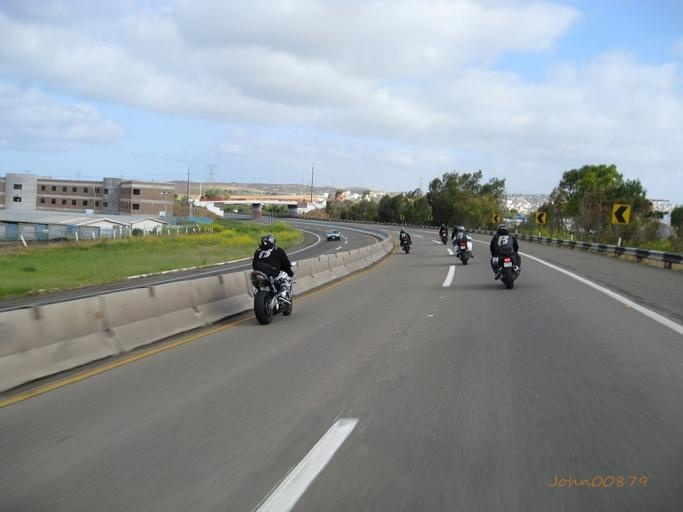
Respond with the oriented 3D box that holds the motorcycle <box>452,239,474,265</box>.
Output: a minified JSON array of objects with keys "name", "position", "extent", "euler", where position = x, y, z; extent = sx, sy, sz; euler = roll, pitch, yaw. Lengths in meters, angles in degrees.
[{"name":"motorcycle","position":[7.126,-0.393,27.896],"extent":[0.761,1.148,1.865],"euler":[-2,10,13]}]

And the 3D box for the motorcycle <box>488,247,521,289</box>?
[{"name":"motorcycle","position":[6.098,0.497,17.738],"extent":[0.954,1.278,0.940],"euler":[1,3,20]}]

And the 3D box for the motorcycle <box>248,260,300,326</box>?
[{"name":"motorcycle","position":[-1.774,0.971,12.024],"extent":[0.471,1.306,1.428],"euler":[1,3,28]}]

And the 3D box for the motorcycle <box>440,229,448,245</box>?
[{"name":"motorcycle","position":[10.233,-1.976,47.165],"extent":[0.706,1.024,1.602],"euler":[1,8,3]}]

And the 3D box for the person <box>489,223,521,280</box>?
[{"name":"person","position":[6.102,-0.170,17.842],"extent":[0.817,1.644,2.818],"euler":[-6,16,13]}]

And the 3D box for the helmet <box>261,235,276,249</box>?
[{"name":"helmet","position":[-1.882,-0.402,12.187],"extent":[0.287,0.430,0.401],"euler":[8,14,26]}]

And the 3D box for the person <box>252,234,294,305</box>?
[{"name":"person","position":[-1.789,0.174,12.330],"extent":[1.662,1.026,0.701],"euler":[-38,-14,33]}]
